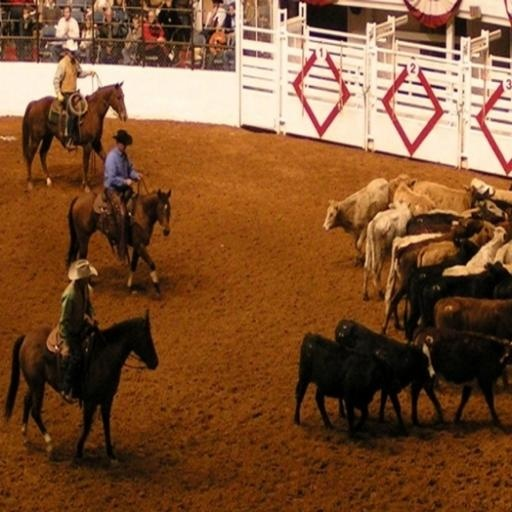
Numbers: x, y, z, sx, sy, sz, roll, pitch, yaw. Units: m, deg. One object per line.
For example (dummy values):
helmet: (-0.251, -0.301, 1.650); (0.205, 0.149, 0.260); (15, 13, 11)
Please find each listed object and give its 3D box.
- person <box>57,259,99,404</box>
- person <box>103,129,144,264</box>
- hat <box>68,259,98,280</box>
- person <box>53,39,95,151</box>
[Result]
person: (-2.412, 0.991, 12.179); (0.352, 1.959, 0.572); (12, 15, 40)
person: (-2.492, -1.382, 16.785); (0.642, 1.987, 0.663); (-2, 13, -17)
hat: (-2.338, 0.182, 12.133); (0.355, 0.368, 0.481); (0, 15, -13)
person: (-4.151, -3.510, 20.164); (0.705, 2.180, 0.805); (-1, 12, -14)
